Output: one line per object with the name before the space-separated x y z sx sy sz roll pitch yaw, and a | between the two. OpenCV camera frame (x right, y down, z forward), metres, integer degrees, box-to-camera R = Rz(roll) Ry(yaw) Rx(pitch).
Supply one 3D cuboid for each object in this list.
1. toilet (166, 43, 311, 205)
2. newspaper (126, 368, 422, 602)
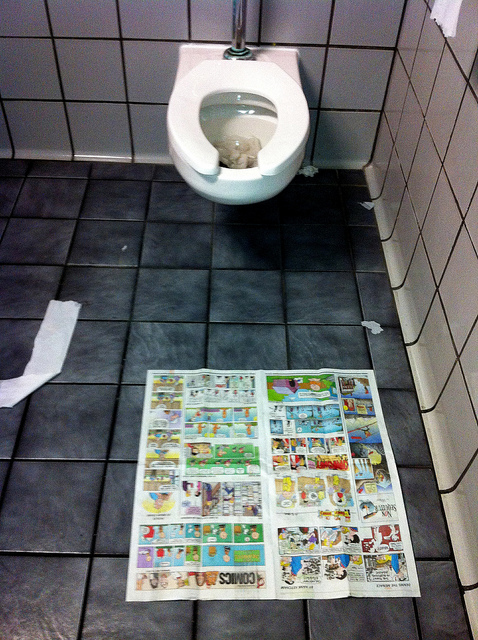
toilet | -0.004 -0.435 1.124 0.302 0.244 0.433 -4 61 -3
newspaper | 0.046 0.347 0.918 0.366 0.018 0.336 1 45 1
